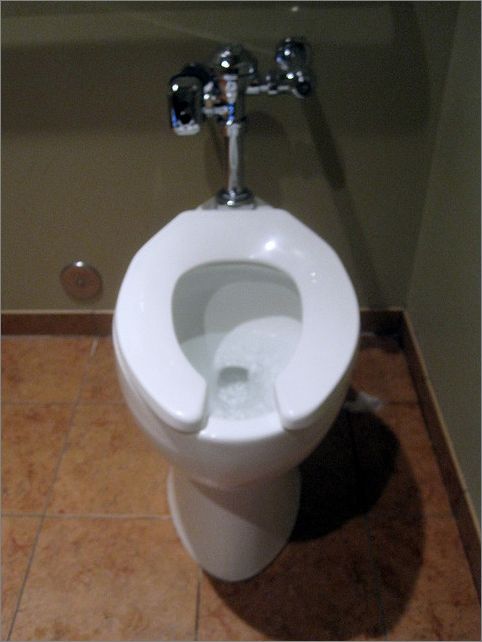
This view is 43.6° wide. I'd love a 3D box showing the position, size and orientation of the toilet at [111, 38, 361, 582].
[{"bbox_3d":[-0.001,-0.004,0.897,0.319,0.661,0.551,0,43,4],"label":"toilet"}]
